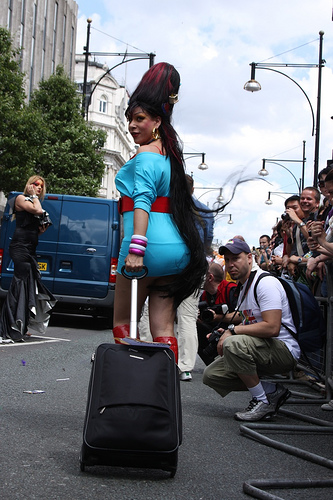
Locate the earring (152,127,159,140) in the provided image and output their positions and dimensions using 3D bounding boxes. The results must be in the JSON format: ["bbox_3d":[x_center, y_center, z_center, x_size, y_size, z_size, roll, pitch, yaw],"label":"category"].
[{"bbox_3d":[-0.055,-0.641,2.585,0.044,0.052,0.020,-2,0,-8],"label":"earring"}]

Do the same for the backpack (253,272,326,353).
[{"bbox_3d":[0.884,0.508,3.999,0.748,0.671,0.474,-1,4,-3],"label":"backpack"}]

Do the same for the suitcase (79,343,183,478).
[{"bbox_3d":[-0.123,0.631,2.014,0.405,0.475,0.277,2,-6,6],"label":"suitcase"}]

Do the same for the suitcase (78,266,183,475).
[{"bbox_3d":[-0.147,0.461,2.069,0.415,0.883,0.322,4,-19,-11],"label":"suitcase"}]

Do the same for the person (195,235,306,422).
[{"bbox_3d":[0.751,0.682,4.166,0.801,1.426,1.315,5,-9,8],"label":"person"}]
